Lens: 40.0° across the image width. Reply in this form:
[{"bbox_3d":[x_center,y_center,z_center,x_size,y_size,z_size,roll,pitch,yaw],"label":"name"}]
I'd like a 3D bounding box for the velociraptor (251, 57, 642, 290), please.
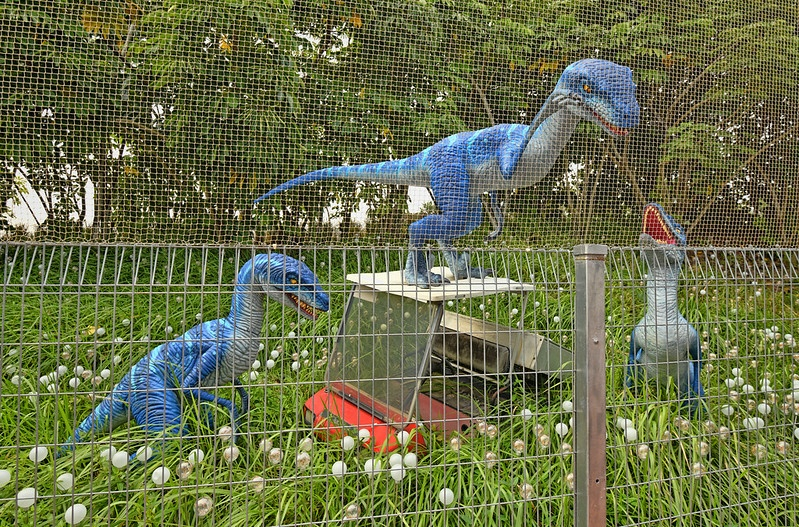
[{"bbox_3d":[0.279,-0.755,10.691,3.947,2.213,1.595,-2,-2,22],"label":"velociraptor"}]

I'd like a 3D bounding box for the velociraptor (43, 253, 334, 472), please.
[{"bbox_3d":[-1.827,0.916,8.944,2.351,2.038,0.806,-1,1,4],"label":"velociraptor"}]
